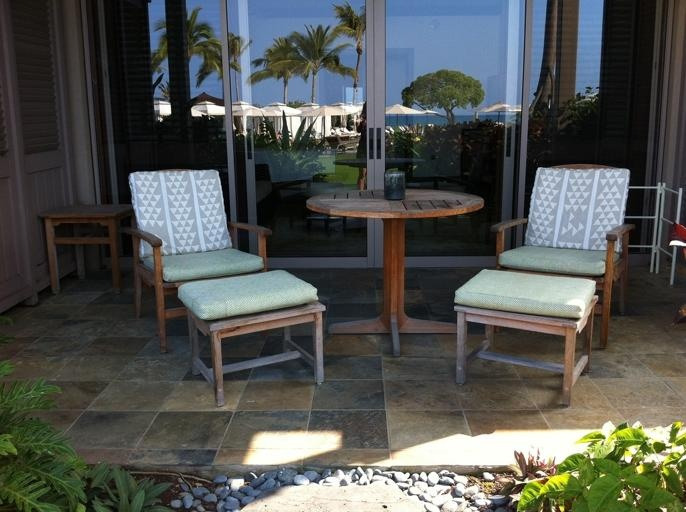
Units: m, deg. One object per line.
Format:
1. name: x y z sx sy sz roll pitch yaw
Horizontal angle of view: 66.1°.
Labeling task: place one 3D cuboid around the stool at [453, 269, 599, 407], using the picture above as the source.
1. stool: 0.959 0.331 3.009 0.922 0.580 0.759 7 17 29

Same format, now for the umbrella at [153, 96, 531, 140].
1. umbrella: -0.216 -1.305 4.871 3.087 0.343 0.133 0 21 3

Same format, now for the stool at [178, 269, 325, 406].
1. stool: -0.496 0.428 2.953 0.664 0.576 0.517 -10 21 -24
